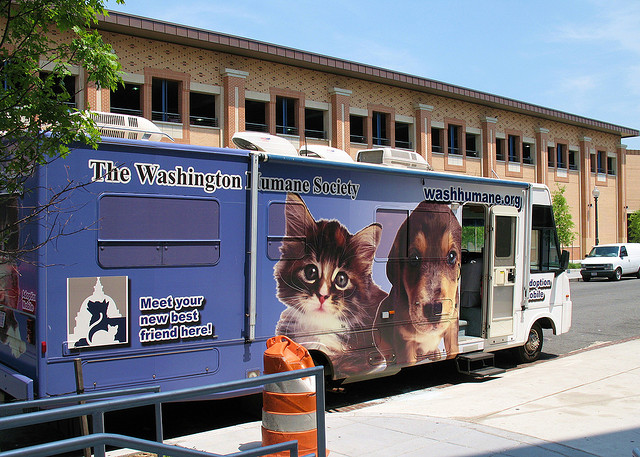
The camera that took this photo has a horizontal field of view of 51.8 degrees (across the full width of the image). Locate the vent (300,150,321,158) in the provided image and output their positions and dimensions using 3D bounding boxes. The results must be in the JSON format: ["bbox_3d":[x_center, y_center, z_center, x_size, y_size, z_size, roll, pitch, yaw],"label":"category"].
[{"bbox_3d":[-0.168,-1.203,10.650,0.239,0.061,0.152,5,3,7],"label":"vent"}]

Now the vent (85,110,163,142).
[{"bbox_3d":[-2.715,-1.412,9.216,0.793,0.240,0.528,4,14,-40],"label":"vent"}]

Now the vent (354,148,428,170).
[{"bbox_3d":[1.305,-1.171,11.038,0.764,0.185,0.546,0,2,-37],"label":"vent"}]

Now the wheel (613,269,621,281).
[{"bbox_3d":[14.270,2.241,31.609,0.336,0.530,0.712,-2,0,26],"label":"wheel"}]

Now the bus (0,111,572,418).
[{"bbox_3d":[0.380,0.729,10.802,10.109,4.166,2.140,-2,0,-35],"label":"bus"}]

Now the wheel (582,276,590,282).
[{"bbox_3d":[12.958,2.455,32.023,0.314,0.260,0.573,-2,0,21],"label":"wheel"}]

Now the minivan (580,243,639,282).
[{"bbox_3d":[14.329,1.665,32.453,3.238,1.386,1.523,6,-9,-41],"label":"minivan"}]

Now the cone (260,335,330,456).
[{"bbox_3d":[-0.345,2.078,8.058,0.823,1.458,0.505,-2,0,23],"label":"cone"}]
